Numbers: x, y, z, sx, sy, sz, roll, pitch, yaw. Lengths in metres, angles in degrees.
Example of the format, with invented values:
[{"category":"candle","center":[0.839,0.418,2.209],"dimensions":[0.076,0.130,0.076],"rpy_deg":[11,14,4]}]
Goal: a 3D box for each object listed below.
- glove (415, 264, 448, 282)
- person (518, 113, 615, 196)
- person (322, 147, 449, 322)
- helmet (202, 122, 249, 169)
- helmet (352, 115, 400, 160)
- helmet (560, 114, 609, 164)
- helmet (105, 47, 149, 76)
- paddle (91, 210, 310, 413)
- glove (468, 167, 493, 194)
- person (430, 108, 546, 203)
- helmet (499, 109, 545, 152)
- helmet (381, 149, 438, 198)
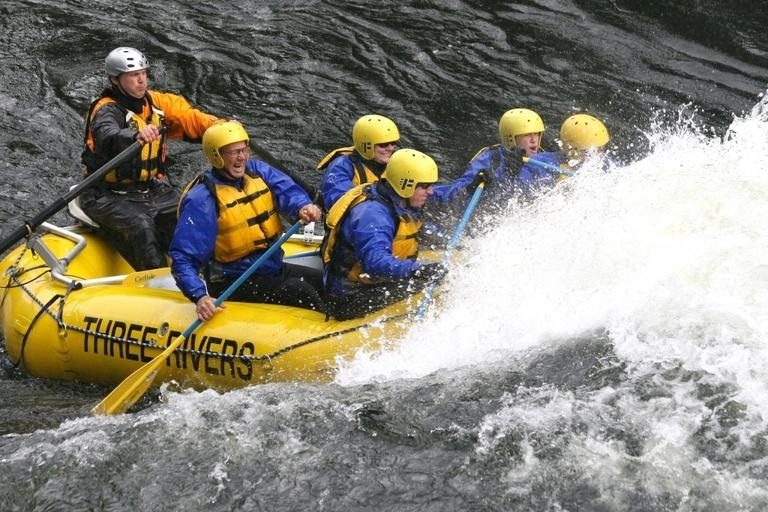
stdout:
[{"category":"glove","center":[0.447,0.156,9.687],"dimensions":[0.371,0.202,0.094],"rpy_deg":[-5,38,-33]},{"category":"person","center":[2.147,-1.269,12.135],"dimensions":[1.019,0.609,1.406],"rpy_deg":[-16,-4,-41]},{"category":"person","center":[-0.031,-0.189,10.024],"dimensions":[0.925,1.354,1.177],"rpy_deg":[9,46,-9]},{"category":"helmet","center":[-1.554,-1.119,10.128],"dimensions":[0.557,0.389,0.422],"rpy_deg":[10,22,37]},{"category":"helmet","center":[-0.104,-1.298,11.036],"dimensions":[0.569,0.377,0.387],"rpy_deg":[14,21,20]},{"category":"helmet","center":[2.259,-1.377,11.865],"dimensions":[0.612,0.530,0.454],"rpy_deg":[10,29,22]},{"category":"helmet","center":[-2.753,-2.095,10.962],"dimensions":[0.416,0.230,0.300],"rpy_deg":[15,30,18]},{"category":"paddle","center":[-1.720,0.592,9.880],"dimensions":[0.326,2.808,0.227],"rpy_deg":[51,-6,-9]},{"category":"glove","center":[1.050,-0.821,11.281],"dimensions":[0.170,0.287,0.100],"rpy_deg":[31,23,-23]},{"category":"person","center":[1.208,-1.132,11.936],"dimensions":[1.181,1.397,0.746],"rpy_deg":[-12,30,-45]},{"category":"helmet","center":[1.530,-1.419,11.608],"dimensions":[0.466,0.380,0.537],"rpy_deg":[-1,10,-29]},{"category":"helmet","center":[0.310,-0.830,9.977],"dimensions":[0.580,0.403,0.418],"rpy_deg":[21,34,29]}]
